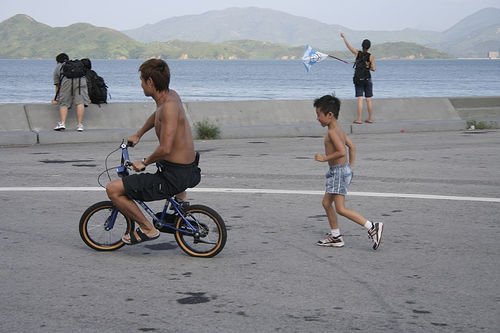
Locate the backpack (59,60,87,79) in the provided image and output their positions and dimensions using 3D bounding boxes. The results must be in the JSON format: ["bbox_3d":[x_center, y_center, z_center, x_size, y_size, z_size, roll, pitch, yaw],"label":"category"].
[{"bbox_3d":[-4.536,-2.499,15.022,0.467,0.581,0.588,15,9,-32],"label":"backpack"}]

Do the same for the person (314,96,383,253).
[{"bbox_3d":[1.207,0.048,7.453,0.763,1.876,0.825,-1,11,6],"label":"person"}]

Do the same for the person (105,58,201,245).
[{"bbox_3d":[-1.118,-0.149,6.872,1.038,2.189,0.469,-3,11,-6],"label":"person"}]

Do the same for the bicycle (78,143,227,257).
[{"bbox_3d":[-1.120,0.490,7.212,1.922,1.090,0.969,2,7,19],"label":"bicycle"}]

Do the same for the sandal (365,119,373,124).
[{"bbox_3d":[3.569,-1.364,17.757,0.154,0.105,0.303,-2,8,-9],"label":"sandal"}]

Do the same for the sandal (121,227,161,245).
[{"bbox_3d":[-1.301,0.841,7.041,0.437,0.154,0.196,-6,10,-8],"label":"sandal"}]

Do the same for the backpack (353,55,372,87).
[{"bbox_3d":[3.263,-2.791,17.191,0.453,0.904,0.368,0,11,9],"label":"backpack"}]

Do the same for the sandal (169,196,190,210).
[{"bbox_3d":[-0.857,0.424,7.087,0.217,0.188,0.126,-4,29,-3],"label":"sandal"}]

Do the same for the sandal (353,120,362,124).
[{"bbox_3d":[3.188,-1.319,17.489,0.128,0.077,0.284,1,2,-15],"label":"sandal"}]

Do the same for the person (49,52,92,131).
[{"bbox_3d":[-4.644,-1.980,15.324,1.151,2.237,0.909,-7,-15,1],"label":"person"}]
